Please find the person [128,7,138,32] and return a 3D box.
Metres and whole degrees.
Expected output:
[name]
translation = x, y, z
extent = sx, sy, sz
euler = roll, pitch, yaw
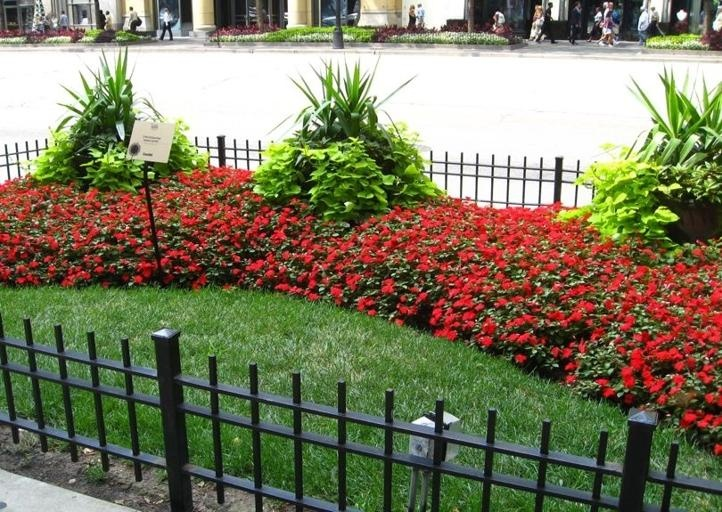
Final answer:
[person]
translation = -12.062, -12.322, 43.200
extent = 0.627, 1.176, 2.148
euler = -1, 14, -15
